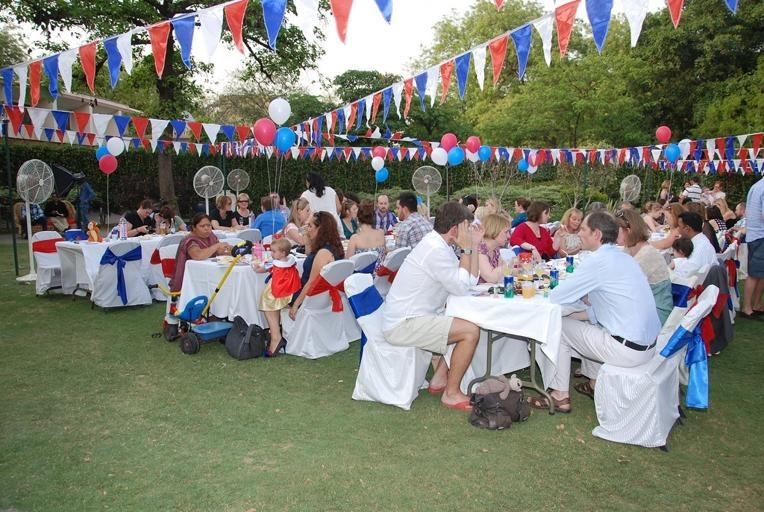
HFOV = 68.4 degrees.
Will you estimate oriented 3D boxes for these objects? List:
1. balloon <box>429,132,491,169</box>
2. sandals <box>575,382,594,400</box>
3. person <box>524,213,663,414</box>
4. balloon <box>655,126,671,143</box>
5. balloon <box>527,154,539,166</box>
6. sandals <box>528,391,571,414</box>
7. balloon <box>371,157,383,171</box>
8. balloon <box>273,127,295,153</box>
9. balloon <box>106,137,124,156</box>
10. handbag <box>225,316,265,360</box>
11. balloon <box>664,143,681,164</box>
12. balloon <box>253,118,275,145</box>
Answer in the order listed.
[{"bbox_3d":[1.707,-2.378,12.790,1.057,0.480,1.138,0,6,17],"label":"balloon"},{"bbox_3d":[2.336,1.551,6.525,0.105,0.104,0.226,-4,16,-26],"label":"sandals"},{"bbox_3d":[2.290,0.627,5.860,1.133,2.175,0.427,1,7,18],"label":"person"},{"bbox_3d":[6.622,-2.870,13.234,0.258,0.398,1.077,2,7,29],"label":"balloon"},{"bbox_3d":[4.141,-2.616,15.438,0.156,0.299,0.506,3,7,32],"label":"balloon"},{"bbox_3d":[1.834,1.568,6.191,0.388,0.173,0.209,5,-1,22],"label":"sandals"},{"bbox_3d":[-0.113,-2.280,13.848,0.351,0.337,0.311,5,0,41],"label":"balloon"},{"bbox_3d":[-1.748,-2.074,9.995,0.316,0.400,0.637,-3,6,-12],"label":"balloon"},{"bbox_3d":[-5.509,-2.268,11.628,0.310,0.380,0.417,-5,7,-29],"label":"balloon"},{"bbox_3d":[-1.762,0.968,7.407,0.500,0.569,0.515,-8,14,-35],"label":"handbag"},{"bbox_3d":[6.929,-2.471,13.421,0.327,0.415,0.572,2,7,29],"label":"balloon"},{"bbox_3d":[-2.033,-2.151,9.720,0.369,0.446,0.420,-3,6,-13],"label":"balloon"}]
